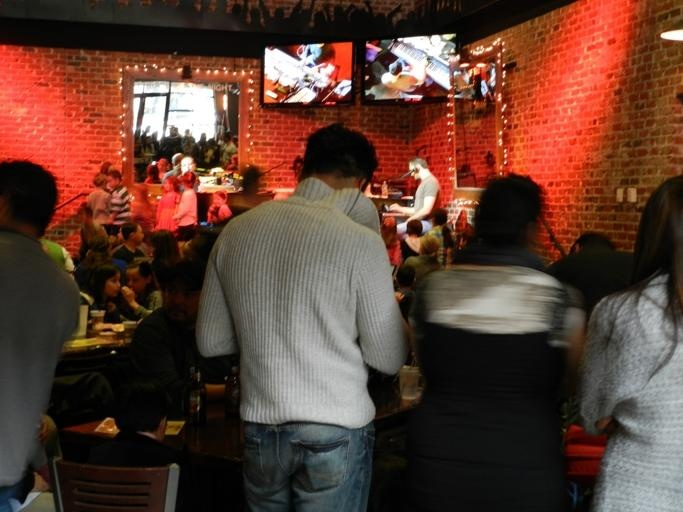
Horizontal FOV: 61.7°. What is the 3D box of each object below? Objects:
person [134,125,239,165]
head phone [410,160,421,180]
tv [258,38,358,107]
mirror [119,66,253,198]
[{"bbox_3d":[-2.652,-1.866,9.845,0.899,0.373,0.948,-4,-7,44],"label":"person"},{"bbox_3d":[1.128,-1.350,8.802,0.071,0.242,0.230,6,7,-1],"label":"head phone"},{"bbox_3d":[-0.519,-2.990,9.325,1.185,0.724,0.158,1,3,17],"label":"tv"},{"bbox_3d":[-2.744,-2.111,9.690,2.688,2.707,0.149,0,3,-5],"label":"mirror"}]
